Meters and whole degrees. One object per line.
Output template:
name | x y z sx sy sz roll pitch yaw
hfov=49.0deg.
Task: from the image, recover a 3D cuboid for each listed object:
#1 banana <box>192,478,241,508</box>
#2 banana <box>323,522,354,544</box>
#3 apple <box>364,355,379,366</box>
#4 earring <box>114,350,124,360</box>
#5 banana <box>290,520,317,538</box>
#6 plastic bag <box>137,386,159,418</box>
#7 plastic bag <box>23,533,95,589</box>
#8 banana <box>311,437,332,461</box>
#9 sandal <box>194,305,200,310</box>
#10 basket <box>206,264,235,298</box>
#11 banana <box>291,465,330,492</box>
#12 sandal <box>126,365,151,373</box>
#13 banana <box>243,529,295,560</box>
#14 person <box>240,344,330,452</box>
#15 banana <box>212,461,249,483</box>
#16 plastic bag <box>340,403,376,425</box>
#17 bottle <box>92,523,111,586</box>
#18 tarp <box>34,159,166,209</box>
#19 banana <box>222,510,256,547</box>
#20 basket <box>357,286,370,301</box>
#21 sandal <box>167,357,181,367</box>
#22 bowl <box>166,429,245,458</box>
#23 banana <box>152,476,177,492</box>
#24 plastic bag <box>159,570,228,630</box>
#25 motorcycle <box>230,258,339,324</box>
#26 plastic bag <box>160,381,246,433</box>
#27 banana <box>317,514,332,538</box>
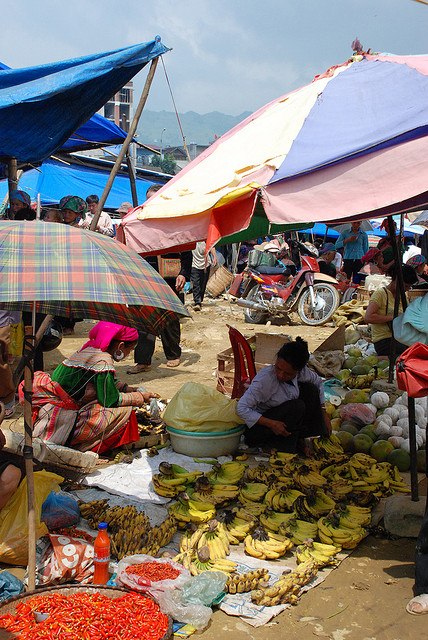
banana | 0.016 1.200 3.251 0.236 0.103 0.215 15 20 37
banana | 0.758 1.282 2.780 0.130 0.043 0.095 1 0 22
apple | 2.103 0.528 6.221 0.114 0.110 0.133 -35 14 -21
earring | -0.863 0.311 4.247 0.083 0.089 0.149 0 1 -10
banana | 0.581 1.272 2.885 0.089 0.040 0.103 -9 19 -33
plastic bag | -0.594 0.839 4.801 0.229 0.290 0.113 13 2 23
plastic bag | -0.779 1.200 2.322 0.304 0.102 0.318 7 18 -11
banana | 0.952 1.129 4.125 0.090 0.060 0.148 -27 44 -6
sandal | -0.445 -0.330 12.462 0.122 0.119 0.291 1 -8 -2
basket | 0.179 -1.232 14.820 0.838 0.957 0.501 0 1 -2
banana | 0.691 1.152 3.404 0.146 0.080 0.254 -8 10 -18
sandal | -1.125 0.729 7.014 0.320 0.130 0.101 1 3 -18
banana | 0.297 1.289 2.699 0.152 0.082 0.197 -12 16 -38
person | 0.631 0.746 4.296 0.575 0.852 0.618 22 40 32
banana | 0.131 1.167 3.591 0.153 0.062 0.142 -17 17 1
plastic bag | 1.457 0.944 4.746 0.349 0.182 0.237 1 1 25
bottle | -0.541 1.131 2.268 0.084 0.277 0.076 3 -1 -13
tarp | -4.220 -4.398 15.584 1.921 2.023 4.247 1 1 34
banana | 0.138 1.279 2.918 0.102 0.072 0.219 22 14 34
basket | 3.094 -0.544 9.718 0.302 0.311 0.374 8 14 29
sandal | -0.647 0.680 7.392 0.199 0.113 0.215 0 0 -9
bowl | -0.088 1.069 4.039 0.357 0.122 0.345 -1 -3 0
banana | -0.357 1.157 3.324 0.096 0.035 0.118 -6 26 -41
plastic bag | -0.098 1.281 2.174 0.223 0.134 0.361 1 0 19
motorcycle | 1.595 -0.871 11.208 1.097 1.833 3.136 4 0 -40
plastic bag | -0.119 0.717 4.185 0.519 0.417 0.467 1 11 -2
banana | 0.685 1.271 2.893 0.130 0.041 0.162 31 14 5
